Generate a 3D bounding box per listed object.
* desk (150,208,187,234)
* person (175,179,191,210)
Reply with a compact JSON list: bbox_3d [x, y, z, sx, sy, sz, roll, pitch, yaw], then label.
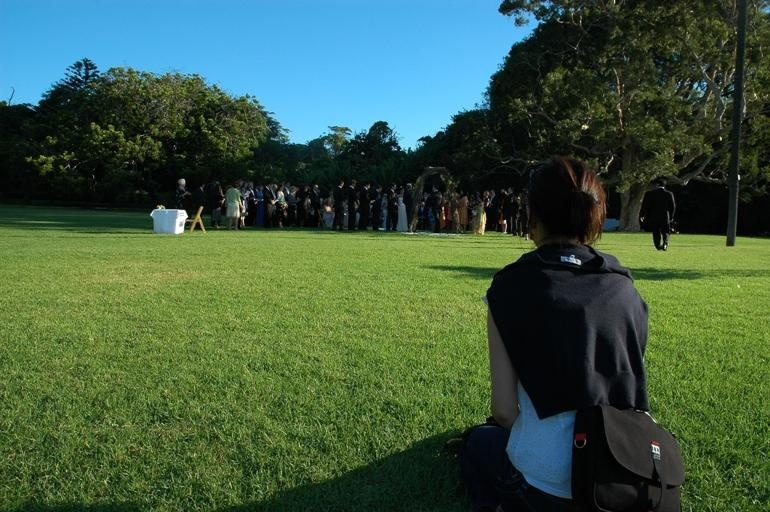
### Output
[{"bbox_3d":[-7.636,-1.190,21.259,1.241,0.927,0.851,0,-1,-9],"label":"desk"},{"bbox_3d":[-8.099,-2.510,24.202,0.500,1.210,2.208,0,4,-19],"label":"person"}]
